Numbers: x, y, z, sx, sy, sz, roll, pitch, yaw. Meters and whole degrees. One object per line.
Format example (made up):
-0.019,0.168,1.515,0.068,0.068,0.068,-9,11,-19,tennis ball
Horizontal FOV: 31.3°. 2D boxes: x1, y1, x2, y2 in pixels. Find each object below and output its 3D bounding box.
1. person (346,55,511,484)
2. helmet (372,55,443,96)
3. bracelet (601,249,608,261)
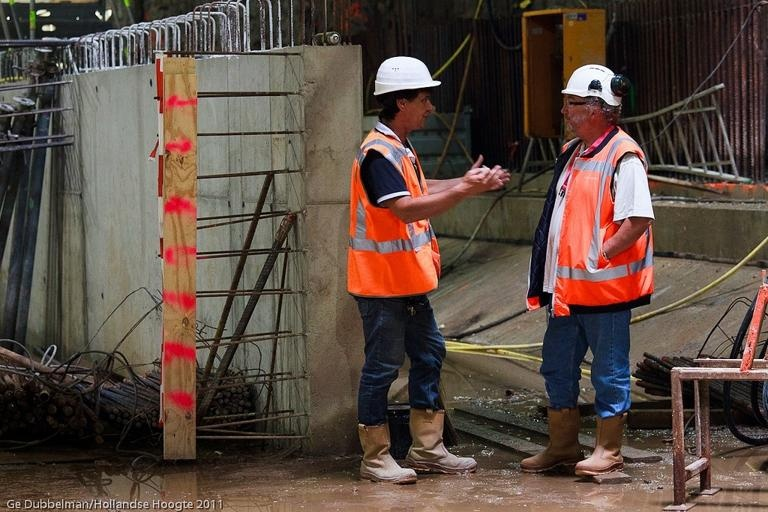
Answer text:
0.225,0.117,12.457,1.089,3.790,0.603,-1,5,-1,person
0.181,-1.632,12.519,0.460,0.228,0.358,-2,9,9,helmet
1.956,-0.008,12.167,0.030,0.077,0.065,-23,14,-27,bracelet
